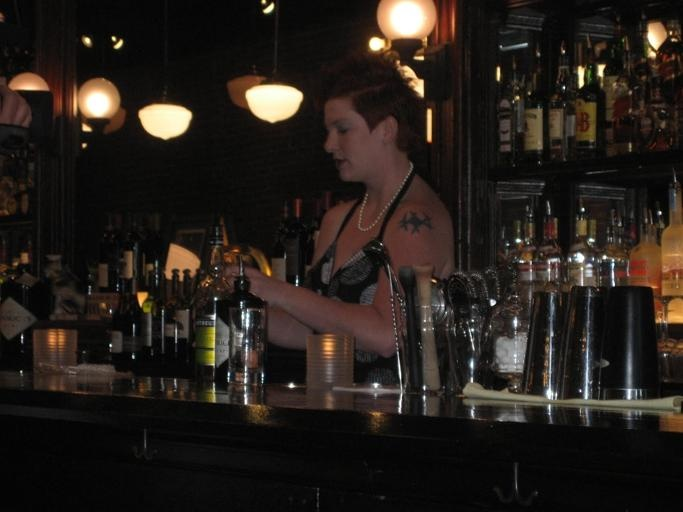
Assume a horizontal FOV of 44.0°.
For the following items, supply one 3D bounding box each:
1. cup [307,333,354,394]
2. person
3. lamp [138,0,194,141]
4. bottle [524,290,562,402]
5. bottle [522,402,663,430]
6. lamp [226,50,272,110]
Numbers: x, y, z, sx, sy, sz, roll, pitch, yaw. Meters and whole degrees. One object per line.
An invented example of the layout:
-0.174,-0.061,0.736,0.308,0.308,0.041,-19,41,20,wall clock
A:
-0.040,0.281,2.254,0.120,0.139,0.180,-1,-5,29,cup
-0.021,0.085,2.976,0.796,1.445,0.747,-3,0,-17,person
-1.041,-1.194,5.180,0.298,1.096,0.997,3,-5,-11,lamp
0.457,0.200,1.913,0.091,0.236,0.035,0,-5,16,bottle
0.476,0.318,1.668,0.277,0.015,0.269,2,-5,0,bottle
-0.507,-0.966,4.660,0.281,0.268,0.262,1,-4,0,lamp
